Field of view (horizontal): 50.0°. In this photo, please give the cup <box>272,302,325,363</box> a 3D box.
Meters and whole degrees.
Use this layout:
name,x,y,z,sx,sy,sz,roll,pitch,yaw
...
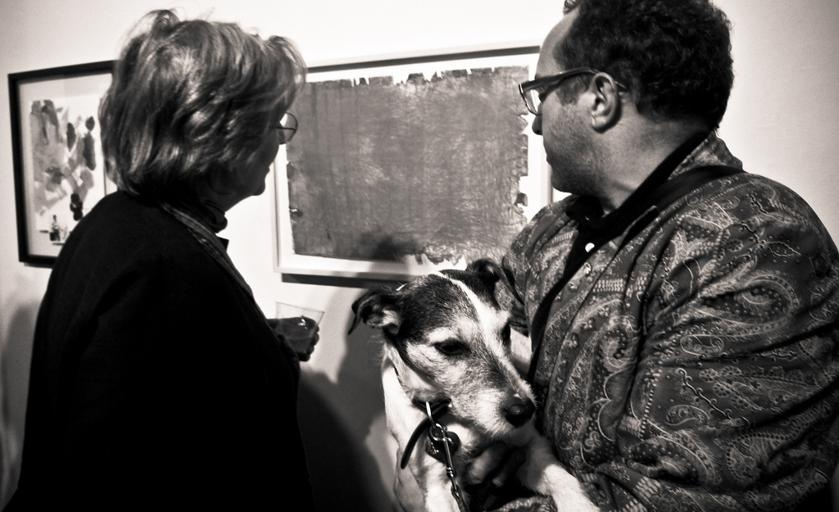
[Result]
name,x,y,z,sx,sy,sz,roll,pitch,yaw
cup,-0.426,0.275,3.220,0.193,0.233,0.135,3,-18,2

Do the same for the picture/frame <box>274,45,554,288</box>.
name,x,y,z,sx,sy,sz,roll,pitch,yaw
picture/frame,0.018,-0.342,3.181,0.895,0.644,0.034,1,7,16
